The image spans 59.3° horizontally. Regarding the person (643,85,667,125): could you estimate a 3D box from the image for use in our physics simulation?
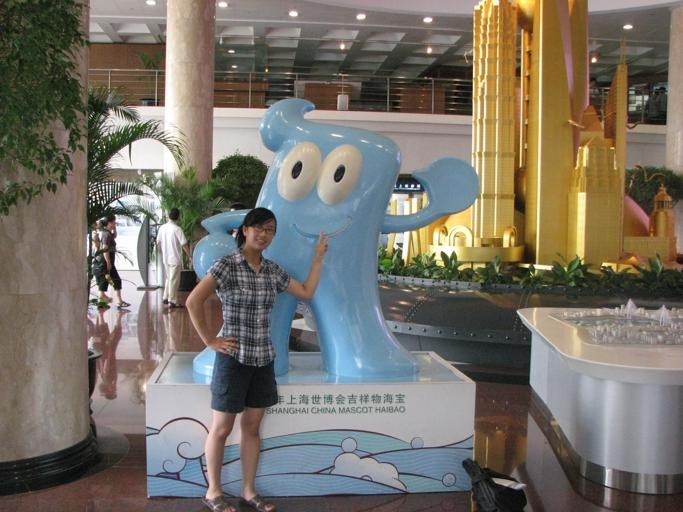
[{"bbox_3d":[9.231,-4.391,17.606,0.576,1.191,1.613,1,3,27],"label":"person"}]

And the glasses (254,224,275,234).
[{"bbox_3d":[-0.368,-0.128,2.953,0.039,0.053,0.108,2,4,43],"label":"glasses"}]

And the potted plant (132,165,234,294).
[{"bbox_3d":[-2.655,-0.448,10.919,1.908,2.590,2.082,-2,6,-30],"label":"potted plant"}]
